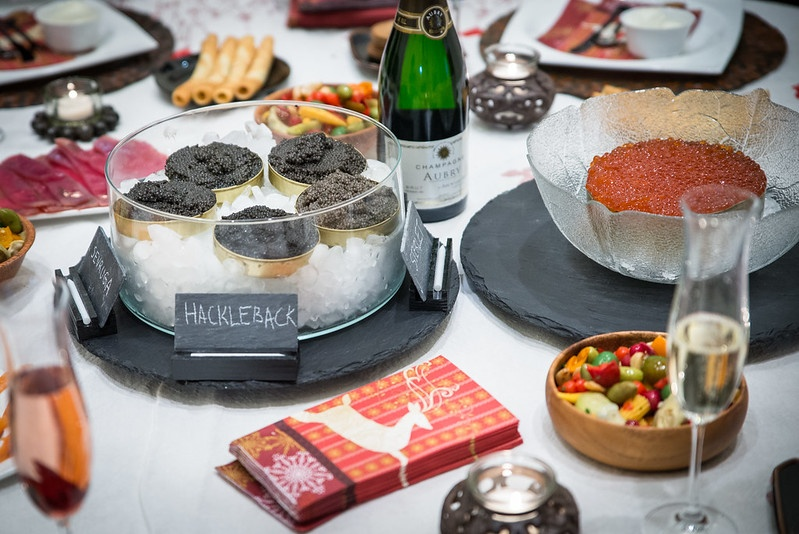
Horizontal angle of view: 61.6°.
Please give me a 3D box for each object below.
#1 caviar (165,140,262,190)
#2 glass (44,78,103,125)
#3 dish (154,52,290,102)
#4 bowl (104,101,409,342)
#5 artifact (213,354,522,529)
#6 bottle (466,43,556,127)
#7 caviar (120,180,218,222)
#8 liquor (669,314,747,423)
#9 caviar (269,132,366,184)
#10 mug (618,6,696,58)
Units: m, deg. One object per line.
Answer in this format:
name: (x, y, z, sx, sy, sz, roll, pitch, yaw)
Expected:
caviar: (-0.349, -0.193, 1.269, 0.133, 0.032, 0.102, 8, 41, 7)
glass: (-0.875, -0.445, 1.797, 0.131, 0.079, 0.131, 22, 40, 24)
dish: (-0.518, -0.541, 1.887, 0.223, 0.037, 0.218, 4, 38, 4)
bowl: (-0.255, -0.132, 1.280, 0.523, 0.264, 0.541, -2, 40, 2)
artifact: (-0.037, 0.209, 0.961, 0.342, 0.065, 0.217, -19, 38, -25)
bottle: (0.281, -0.454, 1.770, 0.219, 0.175, 0.218, -9, 39, -5)
caviar: (-0.396, -0.108, 1.201, 0.119, 0.022, 0.082, 6, 41, -15)
liquor: (0.382, 0.123, 0.833, 0.059, 0.147, 0.067, 20, 57, 32)
caviar: (-0.159, -0.231, 1.242, 0.126, 0.038, 0.126, -18, 38, -28)
mug: (0.718, -0.661, 1.882, 0.191, 0.085, 0.190, -11, 35, -7)
